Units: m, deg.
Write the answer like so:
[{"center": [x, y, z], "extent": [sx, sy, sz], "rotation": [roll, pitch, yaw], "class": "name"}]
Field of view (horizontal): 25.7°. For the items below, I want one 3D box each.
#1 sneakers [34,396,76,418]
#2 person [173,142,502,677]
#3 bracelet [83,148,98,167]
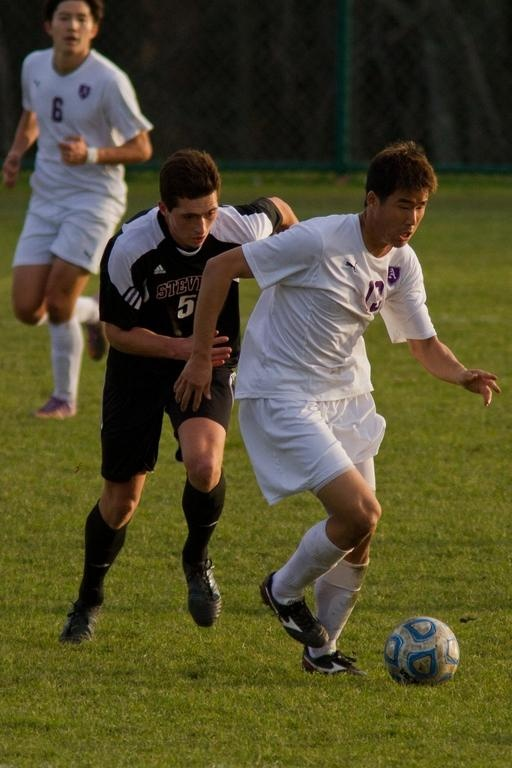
[{"center": [-0.971, 0.121, 5.505], "extent": [0.177, 0.061, 0.087], "rotation": [3, -8, -7], "class": "sneakers"}, {"center": [0.279, 0.103, 3.317], "extent": [0.746, 1.594, 0.704], "rotation": [27, 29, 35], "class": "person"}, {"center": [-0.729, -1.020, 5.066], "extent": [0.080, 0.065, 0.074], "rotation": [1, 3, 12], "class": "bracelet"}]
